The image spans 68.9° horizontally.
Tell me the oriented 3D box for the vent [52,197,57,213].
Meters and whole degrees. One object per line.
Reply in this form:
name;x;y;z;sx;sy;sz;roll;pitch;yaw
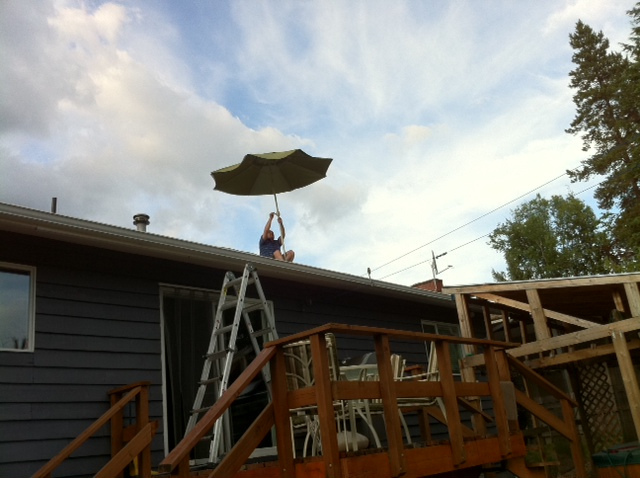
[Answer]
vent;-4.061;-0.520;7.108;0.054;0.246;0.160;5;-22;-26

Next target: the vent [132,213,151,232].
vent;-3.023;-0.291;7.874;0.297;0.319;0.299;6;-24;-21

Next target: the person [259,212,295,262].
person;-0.860;0.097;8.988;0.401;1.157;0.560;1;22;9

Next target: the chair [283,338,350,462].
chair;-0.028;1.505;4.507;0.591;1.102;1.832;-4;-20;-4

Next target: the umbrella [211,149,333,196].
umbrella;-0.906;-1.194;8.672;2.134;0.736;1.132;-4;-20;-5
